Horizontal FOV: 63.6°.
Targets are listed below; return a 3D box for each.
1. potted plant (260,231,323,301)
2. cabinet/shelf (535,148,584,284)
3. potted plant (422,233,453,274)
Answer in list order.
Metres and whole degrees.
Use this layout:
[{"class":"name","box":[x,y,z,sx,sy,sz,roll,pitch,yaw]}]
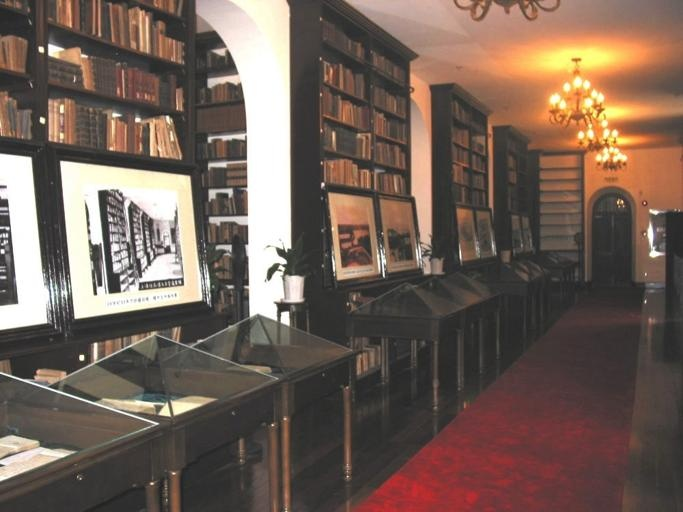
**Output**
[{"class":"potted plant","box":[-0.470,0.114,5.219,0.490,0.623,0.567,-1,3,-7]},{"class":"cabinet/shelf","box":[6.059,-1.362,15.293,1.128,3.070,0.434,0,3,22]},{"class":"potted plant","box":[1.447,-0.033,8.113,0.567,0.609,0.582,0,1,-17]}]
